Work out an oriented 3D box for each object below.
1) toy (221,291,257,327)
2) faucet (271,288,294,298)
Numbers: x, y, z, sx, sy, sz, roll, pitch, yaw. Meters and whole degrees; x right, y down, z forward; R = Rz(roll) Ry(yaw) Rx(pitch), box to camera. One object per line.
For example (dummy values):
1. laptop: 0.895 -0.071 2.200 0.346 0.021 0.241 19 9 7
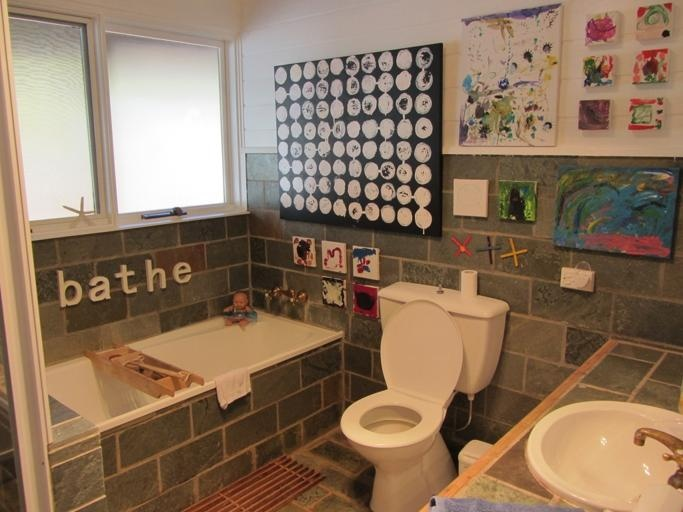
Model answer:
1. toy: -0.707 0.378 3.697 0.238 0.250 0.202 0 13 -11
2. faucet: -0.401 0.252 3.670 0.121 0.067 0.077 1 4 0
